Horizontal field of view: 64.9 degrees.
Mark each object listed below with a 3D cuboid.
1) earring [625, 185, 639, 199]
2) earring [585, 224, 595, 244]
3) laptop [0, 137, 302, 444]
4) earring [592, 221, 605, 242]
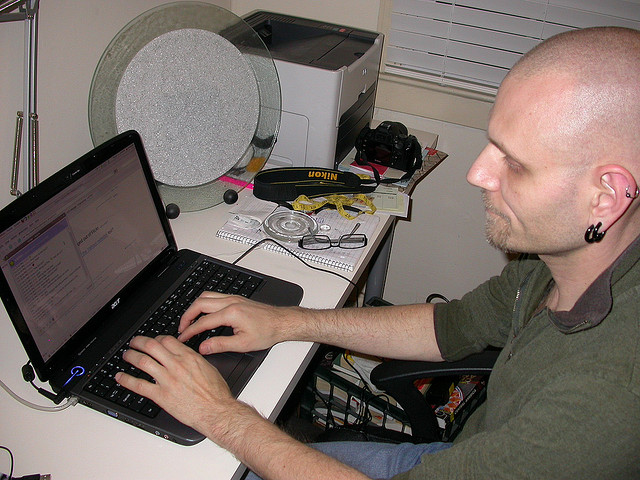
[{"bbox_3d":[0.494,-0.075,0.798,0.020,0.021,0.008,4,-4,6],"label":"earring"},{"bbox_3d":[0.457,-0.009,0.863,0.008,0.027,0.020,12,17,39],"label":"earring"},{"bbox_3d":[-0.387,0.225,1.178,0.539,0.433,0.627,24,35,1],"label":"laptop"},{"bbox_3d":[0.471,-0.014,0.855,0.020,0.043,0.007,0,39,-1],"label":"earring"}]
